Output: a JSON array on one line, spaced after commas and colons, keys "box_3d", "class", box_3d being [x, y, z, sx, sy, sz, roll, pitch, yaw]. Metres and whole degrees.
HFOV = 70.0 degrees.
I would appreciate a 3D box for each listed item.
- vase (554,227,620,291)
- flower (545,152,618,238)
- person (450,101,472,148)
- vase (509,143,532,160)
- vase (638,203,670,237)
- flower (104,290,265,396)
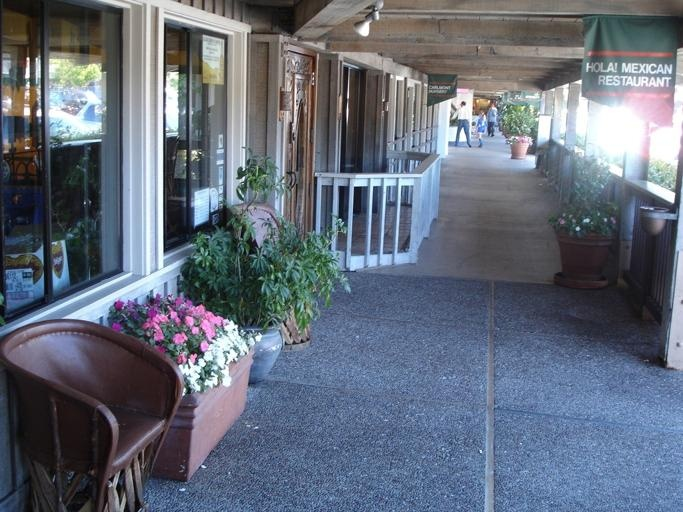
[{"box_3d": [3.337, 0.035, 6.676, 0.757, 0.807, 0.795, 4, 5, 29], "class": "vase"}, {"box_3d": [3.594, -0.864, 7.144, 0.625, 1.188, 0.671, -3, 2, 31], "class": "flower"}, {"box_3d": [6.723, -7.360, 26.927, 1.048, 2.969, 0.929, 21, 47, 31], "class": "person"}, {"box_3d": [8.210, -4.820, 22.478, 0.852, 0.754, 0.891, 2, 3, -15], "class": "vase"}, {"box_3d": [3.067, -0.340, 4.712, 0.287, 0.286, 0.273, 1, 7, 6], "class": "vase"}, {"box_3d": [-1.041, 0.517, 3.128, 0.736, 0.318, 0.793, 9, 2, -23], "class": "flower"}]
